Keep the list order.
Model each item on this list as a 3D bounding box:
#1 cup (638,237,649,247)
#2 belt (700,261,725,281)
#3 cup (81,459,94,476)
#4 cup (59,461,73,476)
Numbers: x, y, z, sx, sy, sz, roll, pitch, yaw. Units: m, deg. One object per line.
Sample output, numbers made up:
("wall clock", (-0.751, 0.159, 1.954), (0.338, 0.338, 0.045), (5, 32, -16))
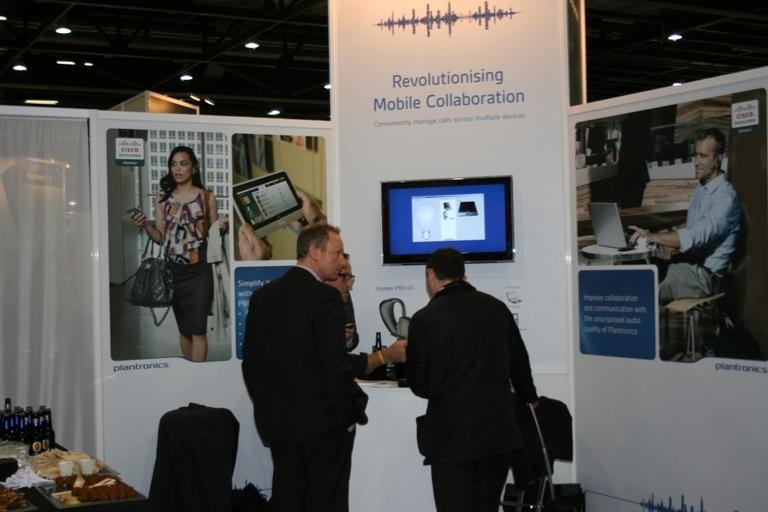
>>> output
("cup", (1.893, -0.107, 5.131), (0.043, 0.056, 0.073), (-1, -9, 3))
("belt", (2.291, 0.105, 4.885), (0.075, 0.115, 0.089), (-14, -9, 5))
("cup", (-1.741, 1.234, 4.158), (0.071, 0.092, 0.073), (-2, -17, -1))
("cup", (-1.859, 1.239, 4.142), (0.066, 0.068, 0.077), (-4, -12, 19))
